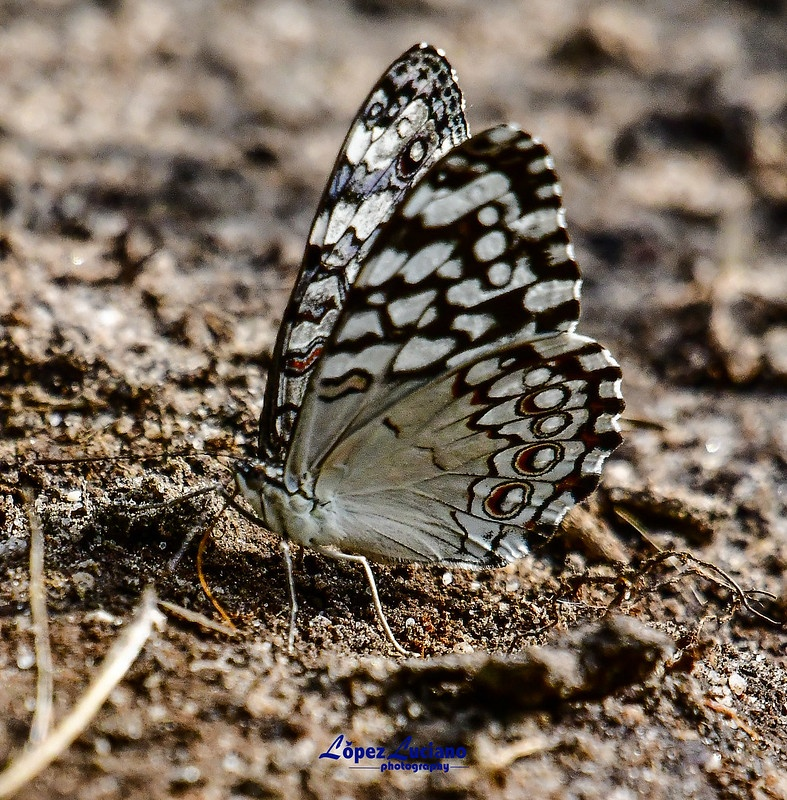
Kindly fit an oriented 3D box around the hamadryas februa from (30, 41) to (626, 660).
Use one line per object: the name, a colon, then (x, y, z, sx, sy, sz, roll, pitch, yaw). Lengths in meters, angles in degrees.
hamadryas februa: (0.089, -0.156, 4.000, 1.149, 1.786, 0.649, 5, 18, -16)
